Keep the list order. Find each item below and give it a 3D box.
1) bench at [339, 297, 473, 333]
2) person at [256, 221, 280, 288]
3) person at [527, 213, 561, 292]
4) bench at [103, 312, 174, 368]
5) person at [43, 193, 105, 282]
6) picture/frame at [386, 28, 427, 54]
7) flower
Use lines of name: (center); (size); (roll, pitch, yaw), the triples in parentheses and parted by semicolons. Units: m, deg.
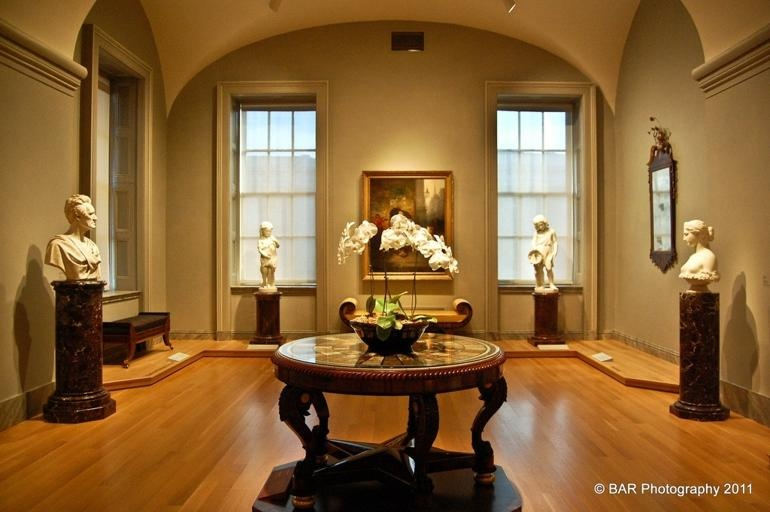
bench: (0.367, 1.130, 9.415); (2.183, 0.854, 0.673); (0, 0, 5)
person: (-1.880, 0.000, 8.990); (0.312, 1.073, 0.428); (-3, 12, -13)
person: (2.661, -0.058, 9.266); (0.458, 1.275, 0.912); (3, 13, 15)
bench: (-3.659, 1.188, 8.154); (0.530, 0.586, 1.360); (3, 0, 1)
person: (-3.641, -0.200, 6.430); (0.547, 0.977, 0.401); (-5, 13, -22)
picture/frame: (0.395, -3.692, 9.547); (0.597, 0.354, 0.074); (0, 12, 1)
flower: (0.063, 0.214, 5.370); (1.089, 1.257, 1.014); (5, -19, -23)
